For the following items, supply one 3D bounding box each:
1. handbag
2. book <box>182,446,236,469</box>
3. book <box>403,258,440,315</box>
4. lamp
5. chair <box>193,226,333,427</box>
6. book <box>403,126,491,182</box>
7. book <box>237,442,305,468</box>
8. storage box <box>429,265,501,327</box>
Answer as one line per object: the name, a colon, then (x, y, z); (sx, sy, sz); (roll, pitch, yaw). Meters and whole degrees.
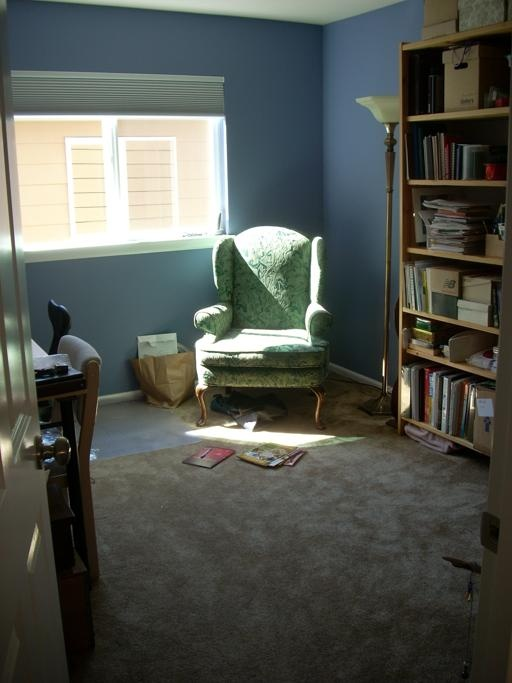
handbag: (-0.688, 0.252, 3.826); (0.424, 0.350, 0.354); (-6, 7, -12)
book: (-0.268, 0.664, 2.971); (0.206, 0.019, 0.291); (8, 15, 35)
book: (0.973, -0.326, 3.168); (0.232, 0.424, 0.305); (3, 4, 30)
lamp: (0.817, -0.547, 3.542); (0.260, 2.043, 0.635); (1, 12, 13)
chair: (0.089, -0.115, 3.591); (0.967, 1.257, 1.137); (5, 11, 28)
book: (0.999, -0.994, 2.774); (0.305, 0.143, 0.405); (-6, 20, -16)
book: (0.086, 0.660, 2.942); (0.356, 0.026, 0.256); (1, 13, 12)
storage box: (1.099, -0.240, 2.690); (0.162, 0.187, 0.298); (-22, 29, -23)
